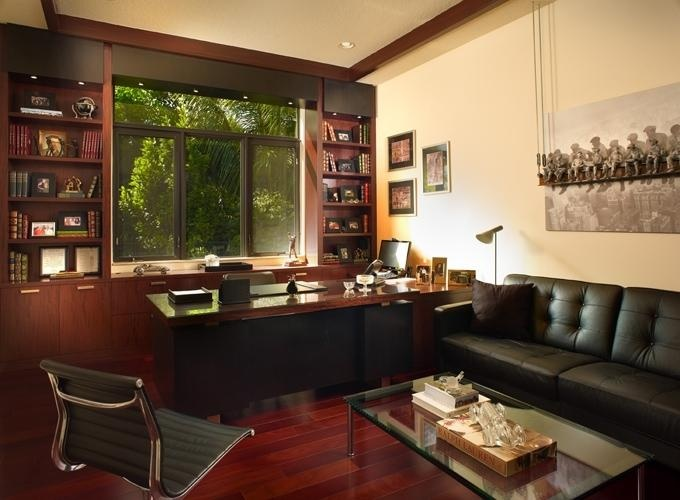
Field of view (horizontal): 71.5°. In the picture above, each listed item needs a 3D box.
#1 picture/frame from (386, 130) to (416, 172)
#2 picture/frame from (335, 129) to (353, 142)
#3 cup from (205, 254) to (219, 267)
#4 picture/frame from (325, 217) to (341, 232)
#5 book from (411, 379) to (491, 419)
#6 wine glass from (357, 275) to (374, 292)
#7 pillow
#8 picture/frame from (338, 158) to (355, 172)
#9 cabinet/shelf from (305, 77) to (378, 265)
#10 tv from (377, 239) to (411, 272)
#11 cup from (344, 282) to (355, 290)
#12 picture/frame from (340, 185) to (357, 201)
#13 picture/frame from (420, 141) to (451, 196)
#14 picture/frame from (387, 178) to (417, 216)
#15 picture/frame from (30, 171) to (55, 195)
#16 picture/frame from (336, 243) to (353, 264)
[{"bbox_3d":[0.818,-1.311,6.243,0.028,0.619,0.625,0,1,-32],"label":"picture/frame"},{"bbox_3d":[0.053,-1.595,6.607,0.258,0.177,0.035,-1,-10,-42],"label":"picture/frame"},{"bbox_3d":[-1.555,0.137,5.806,0.165,0.159,0.166,2,0,0],"label":"cup"},{"bbox_3d":[-0.098,-0.339,6.469,0.231,0.194,0.124,-4,12,-16],"label":"picture/frame"},{"bbox_3d":[0.705,0.922,3.084,0.273,0.066,0.288,-2,1,-27],"label":"book"},{"bbox_3d":[0.235,0.315,4.495,0.159,0.167,0.152,0,-2,-5],"label":"wine glass"},{"bbox_3d":[1.473,0.534,4.319,0.485,0.447,0.180,0,-17,31],"label":"pillow"},{"bbox_3d":[0.116,-1.161,6.540,0.269,0.178,0.181,-5,13,-21],"label":"picture/frame"},{"bbox_3d":[0.070,-1.063,6.556,1.022,2.455,0.807,-4,12,-17],"label":"cabinet/shelf"},{"bbox_3d":[0.648,0.065,6.067,0.567,0.414,0.111,6,9,-42],"label":"tv"},{"bbox_3d":[0.087,0.332,4.397,0.069,0.049,0.063,-1,-1,0],"label":"cup"},{"bbox_3d":[0.138,-0.785,6.567,0.251,0.204,0.086,-6,13,-26],"label":"picture/frame"},{"bbox_3d":[1.183,-0.995,5.740,0.116,0.605,0.517,-6,13,-23],"label":"picture/frame"},{"bbox_3d":[0.819,-0.689,6.293,0.028,0.474,0.506,-4,4,-39],"label":"picture/frame"},{"bbox_3d":[-3.171,-0.697,5.055,0.252,0.238,0.061,-5,-3,-38],"label":"picture/frame"},{"bbox_3d":[0.055,0.060,6.497,0.270,0.360,0.027,5,-27,-27],"label":"picture/frame"}]
